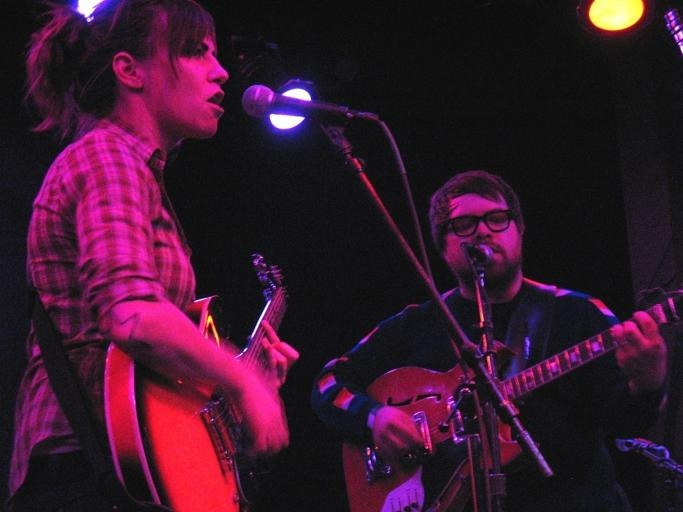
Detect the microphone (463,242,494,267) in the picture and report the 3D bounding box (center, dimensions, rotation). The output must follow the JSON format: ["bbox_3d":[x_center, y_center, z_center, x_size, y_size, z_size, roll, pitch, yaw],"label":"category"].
[{"bbox_3d":[0.669,-0.010,3.291,0.163,0.108,0.088,29,-44,-33],"label":"microphone"}]
